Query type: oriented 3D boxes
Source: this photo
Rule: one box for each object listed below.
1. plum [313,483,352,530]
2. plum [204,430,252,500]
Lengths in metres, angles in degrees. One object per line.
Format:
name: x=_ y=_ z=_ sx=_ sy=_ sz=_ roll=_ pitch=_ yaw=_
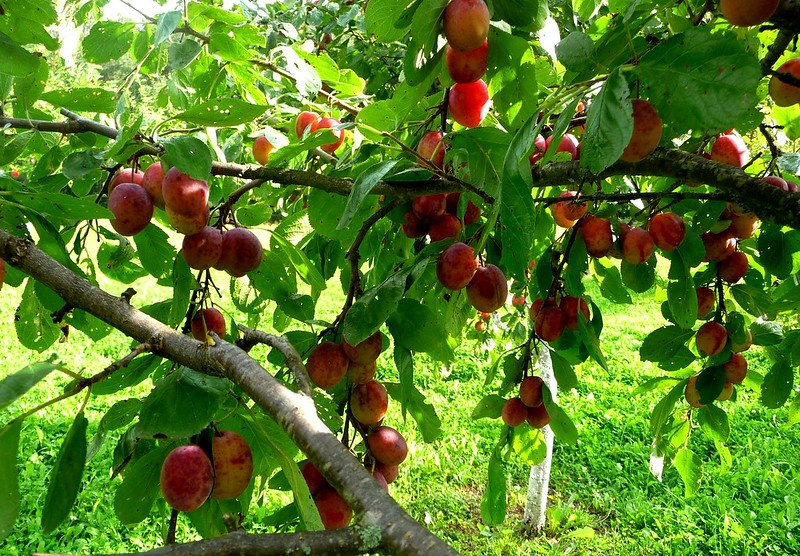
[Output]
plum: x=-0.217 y=0.756 z=2.023 sx=0.121 sy=0.132 sz=0.095 roll=-5 pitch=14 yaw=-10
plum: x=-0.486 y=0.533 z=1.811 sx=0.166 sy=0.217 sz=0.168 roll=0 pitch=-9 yaw=-9
